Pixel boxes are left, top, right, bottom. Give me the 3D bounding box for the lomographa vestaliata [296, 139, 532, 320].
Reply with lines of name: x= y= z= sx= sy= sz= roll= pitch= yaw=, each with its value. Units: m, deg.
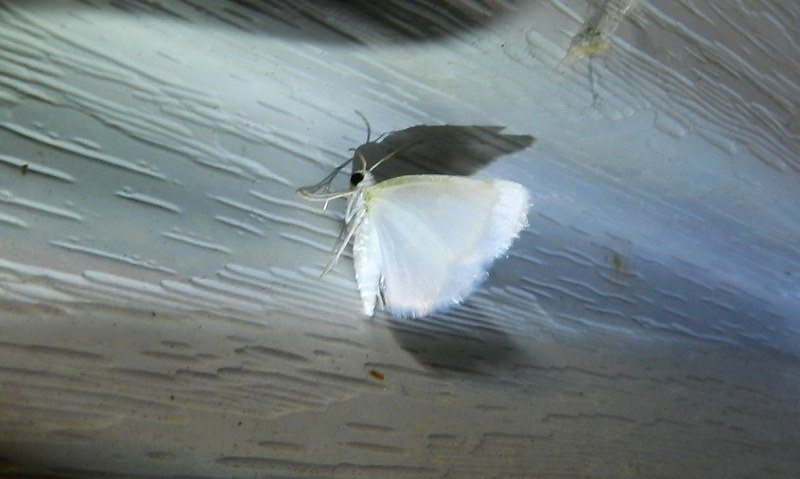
lomographa vestaliata: x=0.020 y=-0.018 z=1.225 sx=0.343 sy=0.202 sz=0.164 roll=0 pitch=3 yaw=-32
